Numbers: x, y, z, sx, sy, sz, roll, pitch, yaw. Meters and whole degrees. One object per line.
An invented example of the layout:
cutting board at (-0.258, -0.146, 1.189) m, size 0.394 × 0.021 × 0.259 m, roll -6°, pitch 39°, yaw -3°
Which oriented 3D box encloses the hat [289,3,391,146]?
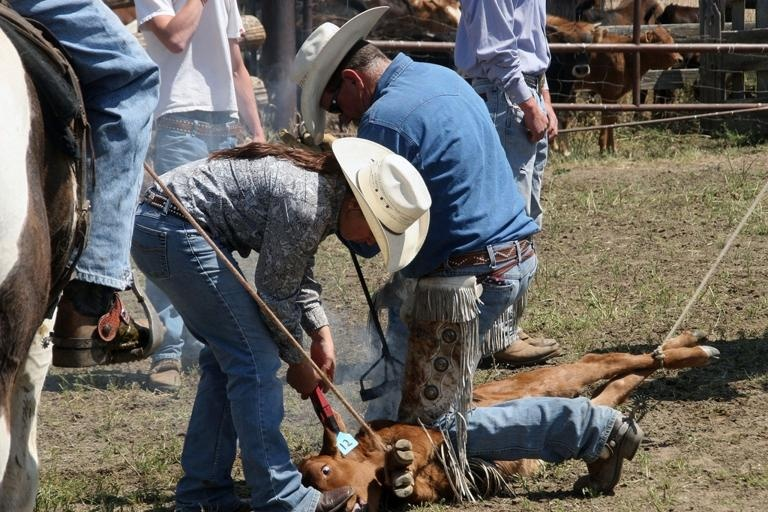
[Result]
hat at (-0.291, -1.114, 6.732) m, size 0.279 × 0.703 × 0.595 m, roll 30°, pitch 7°, yaw -2°

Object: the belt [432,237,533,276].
belt at (0.572, 0.027, 6.488) m, size 0.347 × 0.089 × 0.265 m, roll -20°, pitch 0°, yaw 18°

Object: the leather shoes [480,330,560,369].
leather shoes at (0.912, 0.625, 7.930) m, size 0.599 × 0.287 × 0.219 m, roll -10°, pitch 16°, yaw 2°

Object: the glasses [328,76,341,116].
glasses at (-0.285, -0.952, 6.730) m, size 0.045 × 0.159 × 0.151 m, roll 9°, pitch -4°, yaw 0°

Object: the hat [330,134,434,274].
hat at (0.030, -0.321, 6.055) m, size 0.283 × 0.715 × 0.567 m, roll -22°, pitch 6°, yaw 39°
